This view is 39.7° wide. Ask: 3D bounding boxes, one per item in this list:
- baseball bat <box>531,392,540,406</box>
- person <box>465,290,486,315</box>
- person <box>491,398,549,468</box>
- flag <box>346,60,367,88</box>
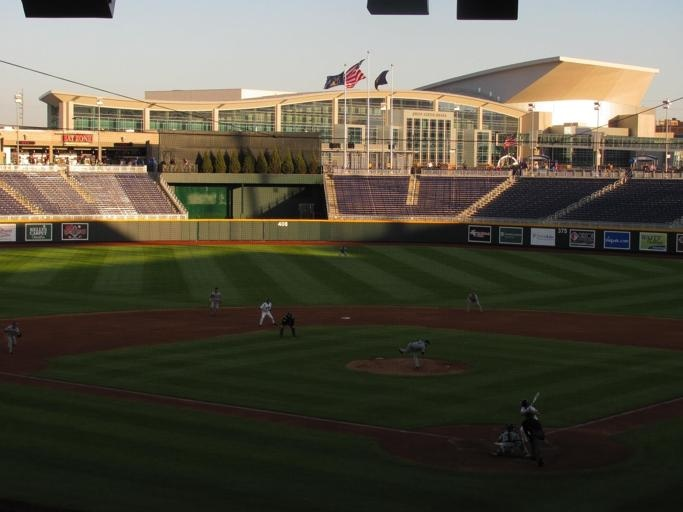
[{"bbox_3d":[6.169,4.562,29.914,0.116,0.644,0.081,23,46,9],"label":"baseball bat"},{"bbox_3d":[6.523,2.329,45.739,1.005,0.764,2.534,0,-4,7],"label":"person"},{"bbox_3d":[5.030,4.814,26.440,1.390,1.636,1.548,3,14,8],"label":"person"},{"bbox_3d":[1.145,-16.061,84.000,1.489,2.184,1.942,0,14,-4],"label":"flag"}]
